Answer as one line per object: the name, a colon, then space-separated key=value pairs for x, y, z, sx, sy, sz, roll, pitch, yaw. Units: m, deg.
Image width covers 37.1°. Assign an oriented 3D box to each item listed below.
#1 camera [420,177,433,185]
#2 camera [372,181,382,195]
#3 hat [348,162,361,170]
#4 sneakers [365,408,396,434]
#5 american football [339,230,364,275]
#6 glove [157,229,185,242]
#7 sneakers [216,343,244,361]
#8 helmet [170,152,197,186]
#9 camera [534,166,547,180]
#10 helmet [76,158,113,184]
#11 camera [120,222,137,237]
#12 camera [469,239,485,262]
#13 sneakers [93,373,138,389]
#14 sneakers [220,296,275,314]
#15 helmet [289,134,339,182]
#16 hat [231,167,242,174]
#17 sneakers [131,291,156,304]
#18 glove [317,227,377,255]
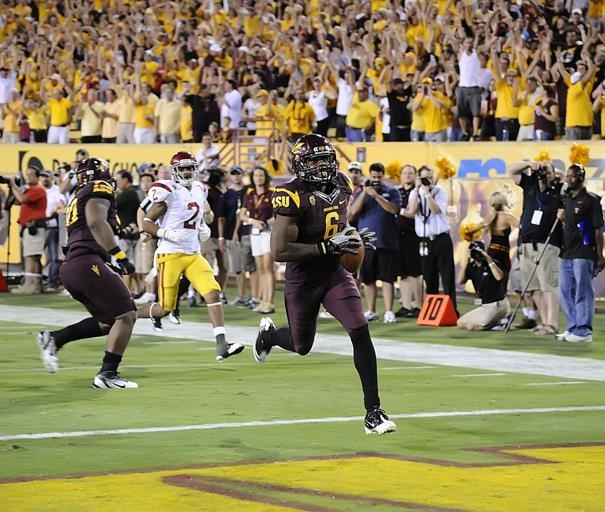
camera: x=1.870 y=-1.135 z=13.643 sx=0.155 sy=0.114 sz=0.131 roll=11 pitch=8 yaw=11
camera: x=1.128 y=-1.035 z=13.659 sx=0.108 sy=0.193 sz=0.308 roll=-1 pitch=0 yaw=18
hat: x=0.802 y=-1.414 z=14.042 sx=0.220 sy=0.118 sz=0.285 roll=1 pitch=-5 yaw=10
sneakers: x=0.514 y=1.129 z=6.090 sx=0.188 sy=0.185 sz=0.312 roll=-1 pitch=0 yaw=2
american football: x=0.376 y=0.004 z=6.431 sx=0.102 sy=0.162 sz=0.278 roll=15 pitch=-37 yaw=-11
glove: x=-1.439 y=-0.224 z=9.756 sx=0.239 sy=0.074 sz=0.153 roll=12 pitch=10 yaw=38
sneakers: x=-0.758 y=0.987 z=9.340 sx=0.265 sy=0.180 sz=0.201 roll=-1 pitch=0 yaw=-5
helmet: x=-1.325 y=-0.968 z=10.056 sx=0.370 sy=0.303 sz=0.413 roll=-3 pitch=11 yaw=-18
camera: x=3.249 y=-1.140 z=12.290 sx=0.093 sy=0.187 sz=0.207 roll=-1 pitch=0 yaw=38
helmet: x=-1.971 y=-0.792 z=8.442 sx=0.367 sy=0.227 sz=0.237 roll=4 pitch=5 yaw=15
camera: x=-3.126 y=-0.493 z=16.074 sx=0.271 sy=0.086 sz=0.242 roll=12 pitch=-37 yaw=-33
camera: x=2.505 y=-0.074 z=12.988 sx=0.197 sy=0.313 sz=0.420 roll=-1 pitch=0 yaw=9
sneakers: x=-1.690 y=1.123 z=8.103 sx=0.464 sy=0.131 sz=0.136 roll=1 pitch=-1 yaw=-7
sneakers: x=-0.860 y=0.824 z=15.097 sx=0.785 sy=0.243 sz=0.229 roll=4 pitch=4 yaw=12
helmet: x=0.080 y=-0.704 z=6.474 sx=0.323 sy=0.363 sz=0.261 roll=-1 pitch=0 yaw=1
hat: x=-1.196 y=-1.523 z=16.089 sx=0.187 sy=0.146 sz=0.292 roll=-1 pitch=0 yaw=-1
sneakers: x=-2.761 y=0.730 z=15.634 sx=0.650 sy=0.219 sz=0.223 roll=2 pitch=7 yaw=43
glove: x=0.305 y=-0.102 z=6.259 sx=0.355 sy=0.104 sz=0.211 roll=-4 pitch=6 yaw=18
